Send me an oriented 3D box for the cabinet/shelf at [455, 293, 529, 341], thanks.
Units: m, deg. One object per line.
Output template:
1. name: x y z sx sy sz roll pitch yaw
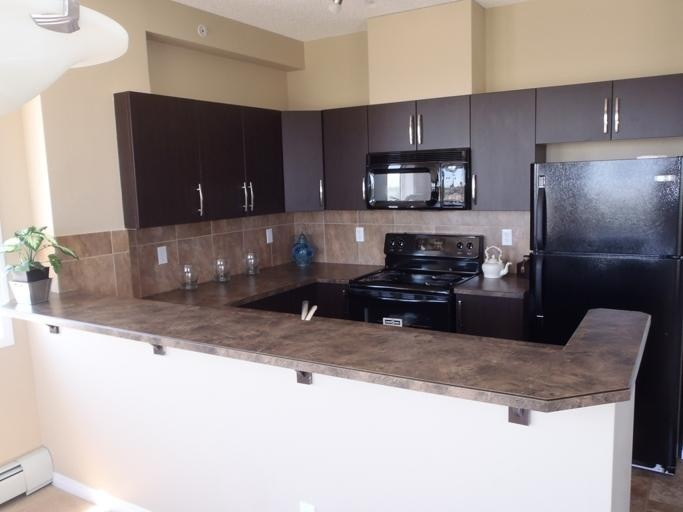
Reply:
1. cabinet/shelf: 1.060 0.464 3.645 0.469 0.467 0.288 2 7 26

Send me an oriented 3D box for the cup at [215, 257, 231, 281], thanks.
1. cup: -0.949 0.101 4.018 0.099 0.173 0.105 -3 13 1

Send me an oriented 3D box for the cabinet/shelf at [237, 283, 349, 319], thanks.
1. cabinet/shelf: -0.344 0.369 3.928 0.778 0.321 0.272 -11 15 -30

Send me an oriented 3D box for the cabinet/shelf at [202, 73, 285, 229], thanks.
1. cabinet/shelf: -0.816 -0.657 4.032 0.718 0.678 0.261 -9 13 -37

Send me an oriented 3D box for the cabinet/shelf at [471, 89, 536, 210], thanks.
1. cabinet/shelf: 1.142 -0.758 3.676 0.447 0.823 0.165 1 14 17

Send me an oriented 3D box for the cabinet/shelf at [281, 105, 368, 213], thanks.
1. cabinet/shelf: 0.024 -0.835 4.606 0.780 1.107 0.822 6 12 38

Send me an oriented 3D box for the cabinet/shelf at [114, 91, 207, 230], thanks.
1. cabinet/shelf: -1.248 -0.627 3.456 0.199 0.860 0.564 -2 6 27

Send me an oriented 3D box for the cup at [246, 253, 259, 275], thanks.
1. cup: -0.737 0.049 4.301 0.092 0.172 0.138 9 18 42

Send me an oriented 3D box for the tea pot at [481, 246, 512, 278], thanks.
1. tea pot: 1.173 0.038 3.874 0.180 0.232 0.251 -14 17 -29

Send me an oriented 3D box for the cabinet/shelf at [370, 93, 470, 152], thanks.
1. cabinet/shelf: 0.602 -1.007 4.015 0.773 0.385 0.252 1 6 18

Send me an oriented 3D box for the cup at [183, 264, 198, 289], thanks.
1. cup: -1.121 0.142 3.774 0.110 0.168 0.108 -3 13 1
